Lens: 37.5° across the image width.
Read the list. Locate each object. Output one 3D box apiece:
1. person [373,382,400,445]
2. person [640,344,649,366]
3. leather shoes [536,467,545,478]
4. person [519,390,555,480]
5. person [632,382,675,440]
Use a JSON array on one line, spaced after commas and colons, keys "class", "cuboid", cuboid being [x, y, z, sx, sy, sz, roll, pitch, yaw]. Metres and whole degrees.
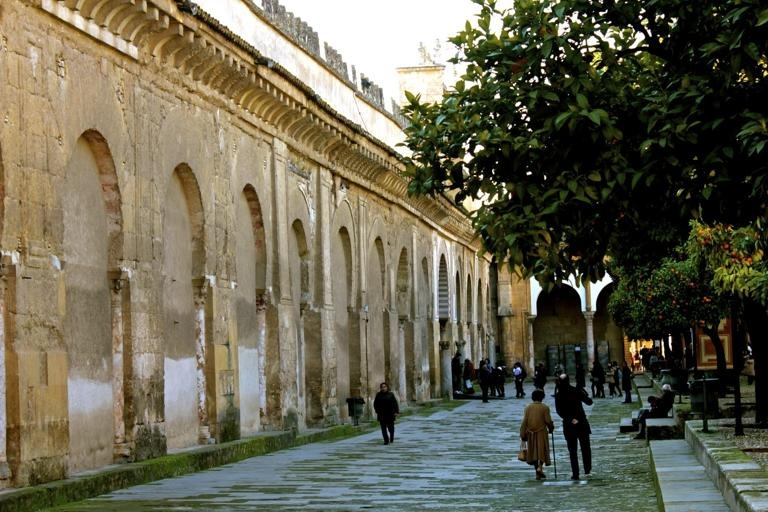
[{"class": "person", "cuboid": [0.057, 3.564, 25.547, 0.478, 1.451, 1.573, -6, -12, 0]}, {"class": "person", "cuboid": [14.551, 5.535, 62.698, 0.387, 1.189, 0.834, 4, -2, -12]}, {"class": "leather shoes", "cuboid": [2.579, 3.594, 18.740, 0.149, 0.221, 0.278, -7, -12, 7]}, {"class": "person", "cuboid": [2.507, 2.984, 18.818, 0.626, 1.459, 0.332, -10, -12, 20]}, {"class": "person", "cuboid": [5.868, 3.395, 24.683, 0.874, 1.128, 2.215, -9, -12, 12]}]
